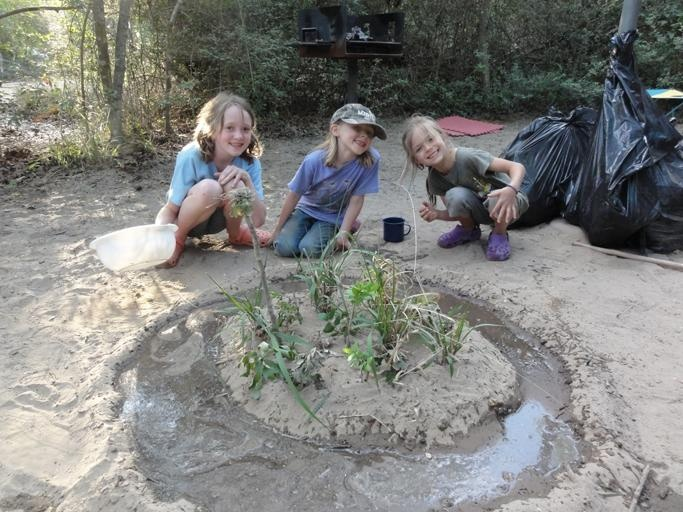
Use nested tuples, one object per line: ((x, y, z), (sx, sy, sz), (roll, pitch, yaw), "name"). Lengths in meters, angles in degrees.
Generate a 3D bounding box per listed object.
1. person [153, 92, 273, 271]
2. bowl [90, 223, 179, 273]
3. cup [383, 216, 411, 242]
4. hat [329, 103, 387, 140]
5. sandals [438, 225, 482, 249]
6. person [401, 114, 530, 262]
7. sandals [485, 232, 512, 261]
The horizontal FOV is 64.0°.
((-0.909, -0.532, 3.774), (0.748, 1.106, 0.541), (-5, 23, -7), "person")
((-1.247, -0.037, 3.301), (0.371, 0.158, 0.376), (-5, -11, -1), "bowl")
((0.412, -0.198, 4.158), (0.234, 0.156, 0.169), (5, 22, 11), "cup")
((0.113, -0.961, 3.754), (0.267, 0.183, 0.355), (1, 11, -44), "hat")
((0.889, -0.157, 4.144), (0.376, 0.146, 0.137), (-12, 23, -12), "sandals")
((0.885, -0.511, 3.934), (0.898, 0.944, 0.781), (3, 12, 29), "person")
((1.126, -0.064, 3.874), (0.128, 0.094, 0.243), (-1, 23, 12), "sandals")
